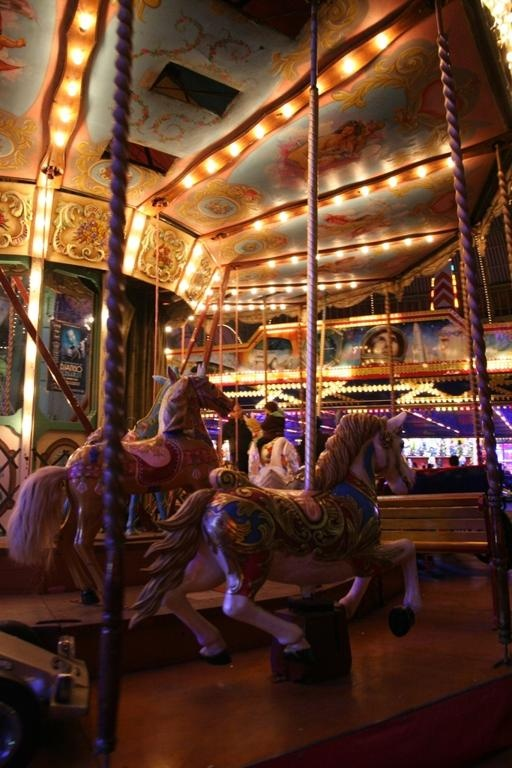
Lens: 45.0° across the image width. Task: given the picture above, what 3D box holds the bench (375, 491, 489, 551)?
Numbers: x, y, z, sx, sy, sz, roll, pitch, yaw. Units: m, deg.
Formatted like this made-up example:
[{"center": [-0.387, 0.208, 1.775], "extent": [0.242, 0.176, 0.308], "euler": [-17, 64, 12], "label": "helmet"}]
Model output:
[{"center": [1.287, 0.993, 4.438], "extent": [0.790, 0.326, 0.370], "euler": [-17, 5, 40], "label": "bench"}]
